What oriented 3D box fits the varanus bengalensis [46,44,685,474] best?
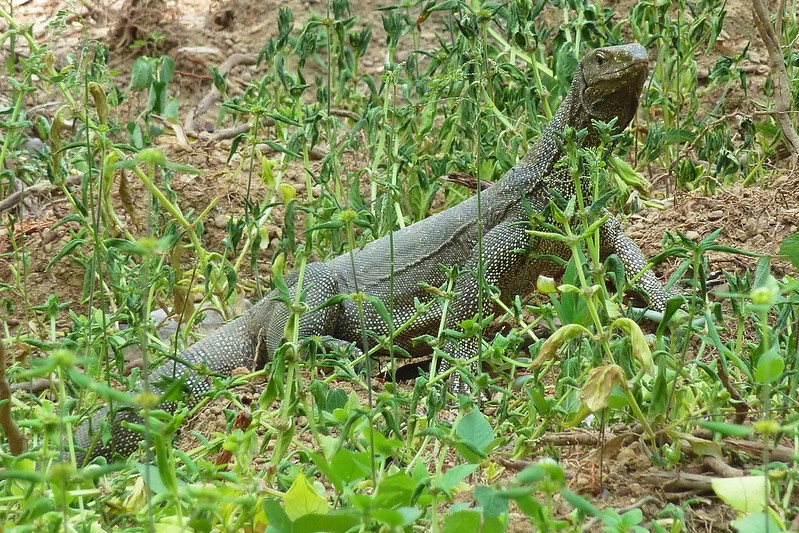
[{"bbox_3d":[-0.131,-0.039,4.676,3.222,0.982,1.210,-27,91,11],"label":"varanus bengalensis"}]
